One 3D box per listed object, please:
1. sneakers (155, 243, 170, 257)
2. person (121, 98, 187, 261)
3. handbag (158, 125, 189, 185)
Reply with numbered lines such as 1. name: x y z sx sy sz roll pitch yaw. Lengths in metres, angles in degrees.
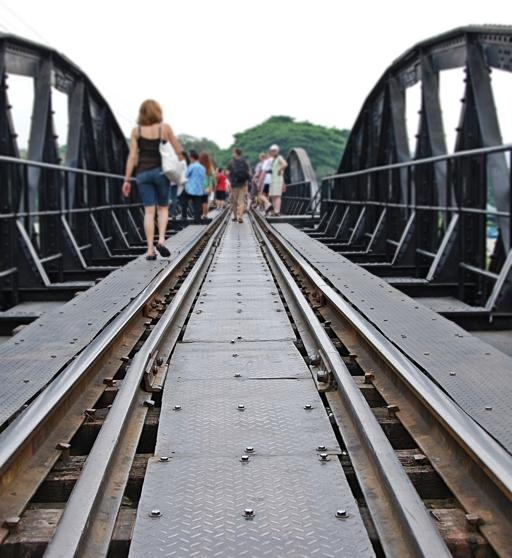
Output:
1. sneakers: -1.576 -0.474 7.880 0.115 0.352 0.139 14 53 22
2. person: -1.666 -1.663 7.792 0.978 2.680 0.687 -2 4 -25
3. handbag: -1.366 -2.030 7.630 0.344 0.946 0.463 -1 5 12
